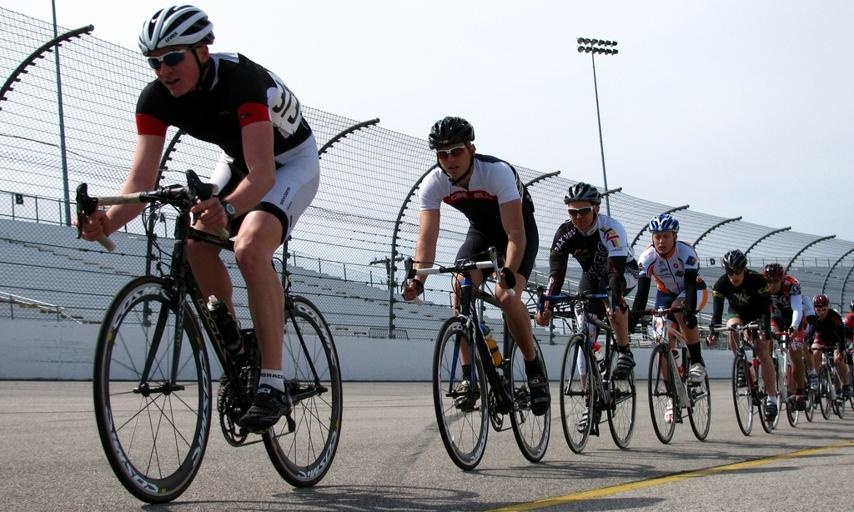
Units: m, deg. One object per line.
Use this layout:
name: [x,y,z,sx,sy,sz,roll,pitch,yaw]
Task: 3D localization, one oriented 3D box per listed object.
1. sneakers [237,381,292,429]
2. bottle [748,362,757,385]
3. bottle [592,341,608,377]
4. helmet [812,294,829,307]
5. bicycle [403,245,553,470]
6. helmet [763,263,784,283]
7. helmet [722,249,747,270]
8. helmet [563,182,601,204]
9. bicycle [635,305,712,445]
sneakers: [-1.122,1.038,4.900,0.212,0.272,0.581,5,7,9]
bottle: [4.305,1.542,9.126,0.079,0.250,0.320,-1,-7,25]
bottle: [1.866,1.083,7.389,0.136,0.404,0.284,-10,28,17]
helmet: [7.077,0.798,12.464,0.205,0.245,0.265,-8,4,23]
bicycle: [0.502,0.863,6.139,0.852,1.908,1.349,-4,-9,43]
helmet: [5.466,0.262,10.895,0.265,0.313,0.341,-7,5,14]
helmet: [4.310,0.062,9.730,0.340,0.329,0.286,2,-7,2]
helmet: [1.897,-0.764,8.480,0.398,0.264,0.368,1,-7,10]
bicycle: [3.028,1.381,8.323,0.906,1.504,2.403,-6,-10,35]
